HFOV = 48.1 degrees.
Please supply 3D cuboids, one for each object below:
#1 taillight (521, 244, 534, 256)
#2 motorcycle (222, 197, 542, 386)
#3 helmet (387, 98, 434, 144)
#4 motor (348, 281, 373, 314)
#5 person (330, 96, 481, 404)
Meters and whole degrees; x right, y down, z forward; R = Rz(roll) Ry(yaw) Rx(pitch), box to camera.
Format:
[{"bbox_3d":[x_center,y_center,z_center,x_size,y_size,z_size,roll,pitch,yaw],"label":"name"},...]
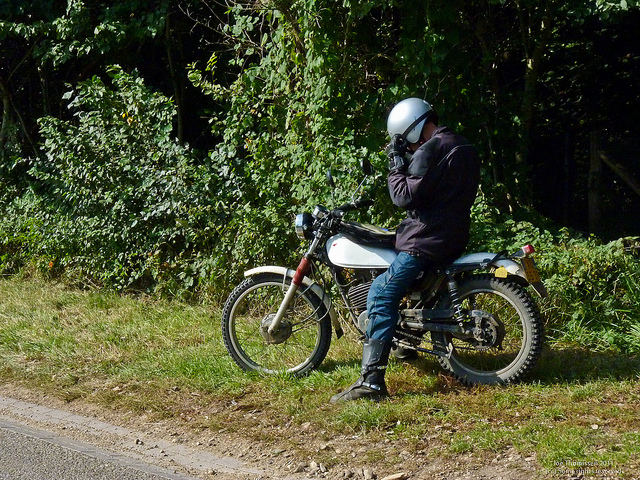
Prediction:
[{"bbox_3d":[1.920,0.084,6.640,0.081,0.088,0.144,-19,2,1],"label":"taillight"},{"bbox_3d":[0.552,0.481,7.160,3.137,2.079,1.133,-1,1,13],"label":"motorcycle"},{"bbox_3d":[0.859,-1.168,6.902,0.378,0.464,0.332,29,4,4],"label":"helmet"},{"bbox_3d":[0.393,0.552,7.038,0.204,0.311,0.129,-6,-18,37],"label":"motor"},{"bbox_3d":[0.892,0.088,6.740,1.120,2.565,0.507,2,-1,15],"label":"person"}]
